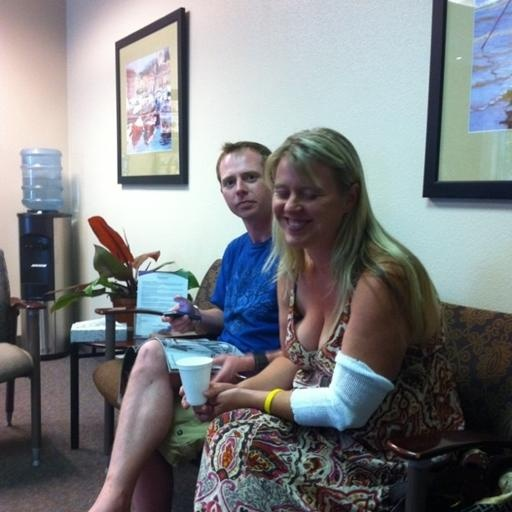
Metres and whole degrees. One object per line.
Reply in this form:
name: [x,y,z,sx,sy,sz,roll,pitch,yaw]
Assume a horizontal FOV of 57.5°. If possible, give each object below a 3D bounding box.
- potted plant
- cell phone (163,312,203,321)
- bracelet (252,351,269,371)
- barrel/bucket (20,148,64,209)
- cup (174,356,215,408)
potted plant: [-0.772,0.052,2.705,0.726,0.475,0.714,2,5,20]
cell phone: [-0.284,0.227,1.768,0.118,0.033,0.030,-1,28,-36]
bracelet: [0.019,0.329,1.483,0.039,0.044,0.051,6,26,25]
barrel/bucket: [-1.757,-0.620,3.820,0.309,0.484,0.188,-4,7,-25]
cup: [-0.158,0.301,1.212,0.119,0.123,0.114,-3,7,0]
